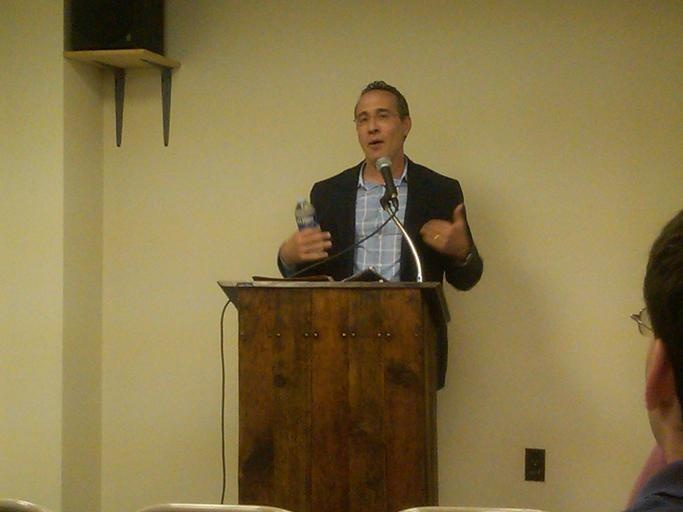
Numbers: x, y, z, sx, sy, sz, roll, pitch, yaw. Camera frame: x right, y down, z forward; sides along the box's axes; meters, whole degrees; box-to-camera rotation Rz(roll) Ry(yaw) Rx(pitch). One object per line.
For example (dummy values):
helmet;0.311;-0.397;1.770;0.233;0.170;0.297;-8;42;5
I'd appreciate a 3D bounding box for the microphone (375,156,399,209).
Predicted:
microphone;0.229;-0.347;4.597;0.078;0.300;0.087;-11;-30;10

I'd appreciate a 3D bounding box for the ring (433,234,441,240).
ring;0.502;-0.102;4.870;0.030;0.021;0.032;-13;0;0

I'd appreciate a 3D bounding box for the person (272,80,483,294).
person;0.262;-0.379;5.154;0.795;1.760;0.651;-3;-22;11
